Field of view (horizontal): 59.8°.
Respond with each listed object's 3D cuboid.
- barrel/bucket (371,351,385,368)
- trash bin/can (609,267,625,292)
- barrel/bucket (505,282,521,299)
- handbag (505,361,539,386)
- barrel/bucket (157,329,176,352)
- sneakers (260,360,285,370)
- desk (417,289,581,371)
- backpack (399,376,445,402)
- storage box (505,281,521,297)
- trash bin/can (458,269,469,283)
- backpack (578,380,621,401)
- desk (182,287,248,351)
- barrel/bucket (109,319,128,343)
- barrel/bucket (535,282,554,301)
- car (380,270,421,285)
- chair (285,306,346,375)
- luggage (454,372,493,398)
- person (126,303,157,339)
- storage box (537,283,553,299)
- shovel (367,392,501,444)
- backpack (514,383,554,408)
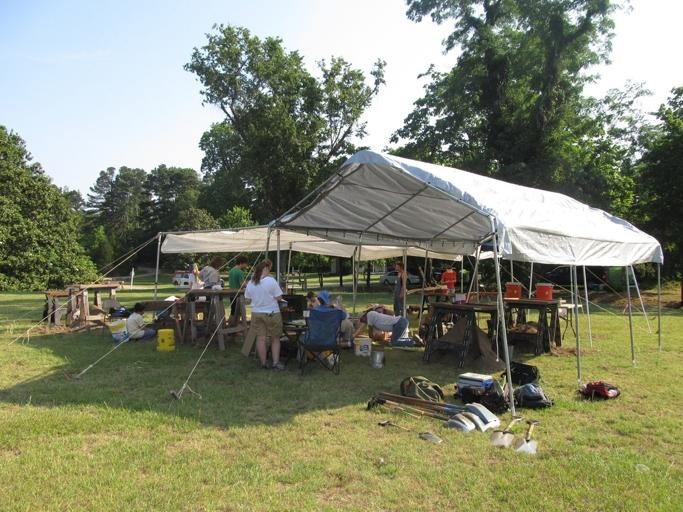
[{"bbox_3d":[0.702,1.970,11.241,0.220,0.263,0.272,0,-6,6],"label":"barrel/bucket"},{"bbox_3d":[12.589,1.040,27.061,0.767,1.217,1.457,6,11,24],"label":"trash bin/can"},{"bbox_3d":[3.909,0.794,13.521,0.369,0.365,0.365,2,-5,0],"label":"barrel/bucket"},{"bbox_3d":[3.195,2.067,10.286,0.499,0.288,0.454,4,10,17],"label":"handbag"},{"bbox_3d":[-3.668,1.737,12.230,0.381,0.467,0.402,1,0,0],"label":"barrel/bucket"},{"bbox_3d":[-1.290,2.025,11.016,0.440,0.216,0.168,-7,-7,24],"label":"sneakers"},{"bbox_3d":[3.276,1.491,12.537,1.962,1.316,3.668,9,13,38],"label":"desk"},{"bbox_3d":[1.246,2.121,9.527,0.398,0.207,0.490,8,-9,-25],"label":"backpack"},{"bbox_3d":[3.924,0.768,13.521,0.339,0.350,0.352,1,-3,-6],"label":"storage box"},{"bbox_3d":[6.409,1.054,30.864,0.675,0.520,0.895,2,-7,3],"label":"trash bin/can"},{"bbox_3d":[4.216,2.198,9.655,0.618,0.222,0.522,6,11,25],"label":"backpack"},{"bbox_3d":[-2.827,1.292,13.025,1.503,1.278,1.239,3,4,38],"label":"desk"},{"bbox_3d":[-4.910,1.653,13.079,0.424,0.487,0.413,-1,5,0],"label":"barrel/bucket"},{"bbox_3d":[4.465,0.793,12.932,0.395,0.366,0.364,2,-3,0],"label":"barrel/bucket"},{"bbox_3d":[3.618,1.410,36.236,2.130,0.834,1.025,-3,-2,4],"label":"car"},{"bbox_3d":[-0.391,1.535,10.911,0.856,1.243,0.841,1,10,2],"label":"chair"},{"bbox_3d":[2.160,1.975,9.431,0.348,0.325,0.471,2,-2,-42],"label":"luggage"},{"bbox_3d":[-4.638,1.520,13.568,0.584,0.850,0.607,3,-7,-42],"label":"person"},{"bbox_3d":[4.432,0.758,12.924,0.327,0.313,0.317,4,4,16],"label":"storage box"},{"bbox_3d":[1.427,2.312,8.798,1.360,0.220,0.726,0,3,35],"label":"shovel"},{"bbox_3d":[2.983,2.196,9.260,0.441,0.159,0.338,-3,3,-4],"label":"backpack"}]
